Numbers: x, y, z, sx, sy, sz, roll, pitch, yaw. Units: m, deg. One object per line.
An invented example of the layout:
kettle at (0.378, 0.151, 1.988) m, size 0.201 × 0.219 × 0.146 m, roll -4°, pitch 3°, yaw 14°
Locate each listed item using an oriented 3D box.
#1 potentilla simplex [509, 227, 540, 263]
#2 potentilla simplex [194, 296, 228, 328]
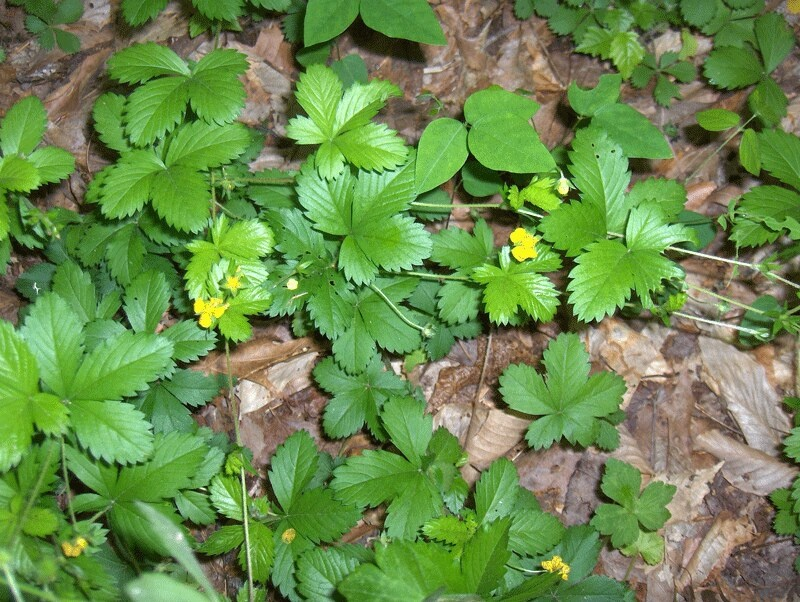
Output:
potentilla simplex at (0.784, -0.331, 4.631) m, size 0.194 × 0.149 × 0.185 m, roll 8°, pitch 70°, yaw -2°
potentilla simplex at (-1.113, 0.043, 4.402) m, size 0.196 × 0.092 × 0.161 m, roll -22°, pitch 74°, yaw -12°
